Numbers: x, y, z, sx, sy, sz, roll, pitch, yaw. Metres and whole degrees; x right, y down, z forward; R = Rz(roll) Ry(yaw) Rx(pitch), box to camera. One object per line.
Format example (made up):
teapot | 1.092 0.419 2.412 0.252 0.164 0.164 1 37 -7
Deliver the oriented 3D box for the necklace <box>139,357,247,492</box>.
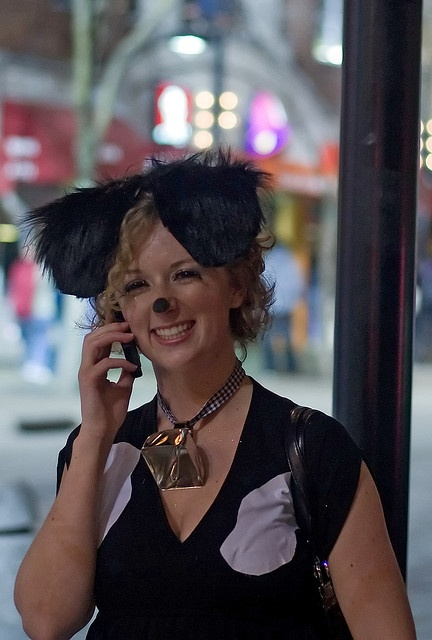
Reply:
necklace | -0.083 0.333 2.649 0.249 0.355 0.135 -9 -38 23
